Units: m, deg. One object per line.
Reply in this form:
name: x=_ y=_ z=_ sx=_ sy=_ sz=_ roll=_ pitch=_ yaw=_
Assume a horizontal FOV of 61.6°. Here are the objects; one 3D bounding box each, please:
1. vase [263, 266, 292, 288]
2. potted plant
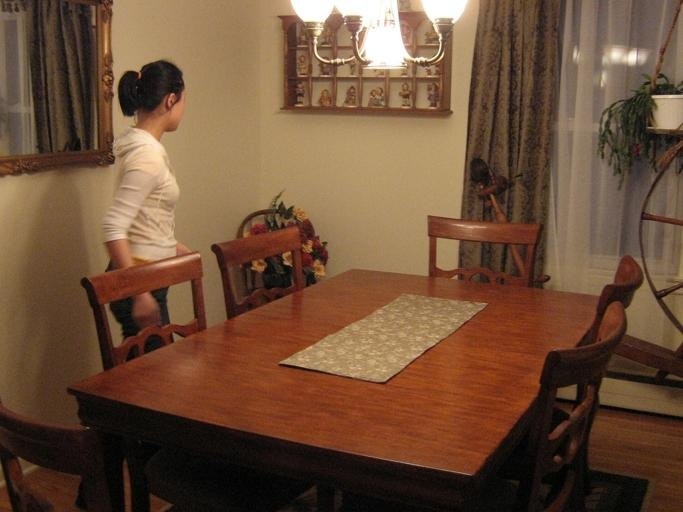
vase: x=-0.426 y=0.150 z=3.831 sx=0.151 sy=0.262 sz=0.165 roll=-1 pitch=4 yaw=0
potted plant: x=1.741 y=-0.731 z=3.415 sx=0.293 sy=0.583 sz=0.373 roll=-11 pitch=16 yaw=-33
